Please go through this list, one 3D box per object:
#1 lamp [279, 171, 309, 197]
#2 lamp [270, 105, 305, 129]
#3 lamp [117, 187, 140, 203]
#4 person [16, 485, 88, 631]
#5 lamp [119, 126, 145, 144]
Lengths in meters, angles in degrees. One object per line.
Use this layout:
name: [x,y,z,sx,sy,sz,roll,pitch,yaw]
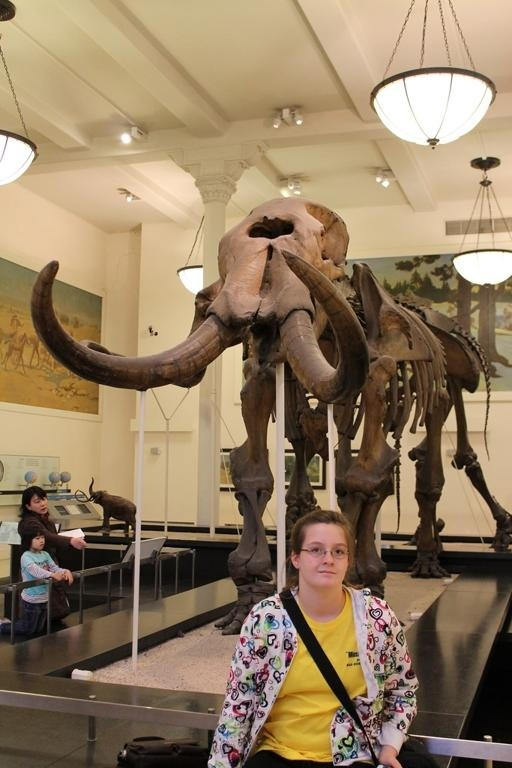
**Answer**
lamp: [0.655,-3.501,10.684,0.483,0.204,0.733,-2,-5,3]
lamp: [0.442,-3.560,8.083,0.305,0.114,0.307,-1,13,14]
lamp: [-2.394,-3.527,11.319,0.408,0.131,0.748,-1,-5,-7]
person: [-1.943,1.631,5.702,0.669,1.242,0.409,-4,0,20]
lamp: [-1.780,-3.627,8.771,0.222,0.099,0.324,-3,4,16]
